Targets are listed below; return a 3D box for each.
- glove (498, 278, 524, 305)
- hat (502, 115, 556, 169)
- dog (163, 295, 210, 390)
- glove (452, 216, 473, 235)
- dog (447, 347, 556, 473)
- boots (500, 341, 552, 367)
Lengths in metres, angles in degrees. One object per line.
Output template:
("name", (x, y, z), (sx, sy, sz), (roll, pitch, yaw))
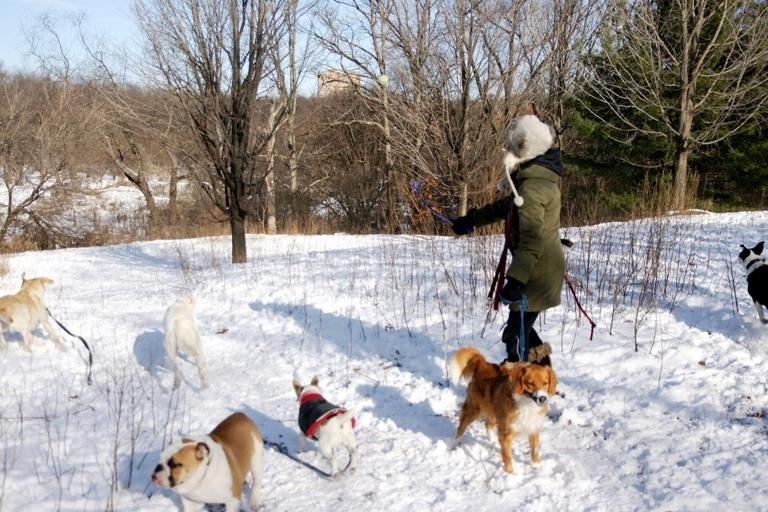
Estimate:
("glove", (2.420, 0.668, 12.304), (0.324, 0.560, 0.507), (-1, -12, 10))
("hat", (2.803, -2.189, 12.485), (0.878, 1.041, 0.950), (-3, 50, 2))
("dog", (-4.419, 1.954, 14.477), (0.867, 1.838, 1.037), (-5, 9, -10))
("glove", (1.575, -0.574, 13.036), (0.329, 0.404, 0.346), (4, -13, -30))
("dog", (2.311, 3.010, 12.847), (0.998, 2.257, 2.686), (-3, 7, -34))
("boots", (2.893, 1.950, 12.569), (0.622, 0.407, 0.508), (-10, -6, 14))
